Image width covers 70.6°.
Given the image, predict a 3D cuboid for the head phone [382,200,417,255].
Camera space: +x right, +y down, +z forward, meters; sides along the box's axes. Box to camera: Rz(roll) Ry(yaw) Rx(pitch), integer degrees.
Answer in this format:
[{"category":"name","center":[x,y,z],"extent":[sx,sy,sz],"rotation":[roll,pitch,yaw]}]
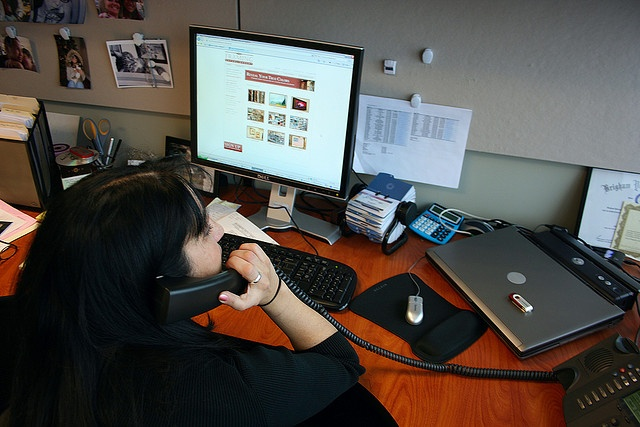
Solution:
[{"category":"head phone","center":[0.278,0.038,1.556],"extent":[0.062,0.170,0.180],"rotation":[21,27,25]}]

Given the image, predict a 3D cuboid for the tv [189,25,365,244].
[{"category":"tv","center":[-0.137,-0.287,1.505],"extent":[0.638,0.604,0.087],"rotation":[16,29,22]}]

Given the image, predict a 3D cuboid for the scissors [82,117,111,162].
[{"category":"scissors","center":[-0.895,-0.321,1.837],"extent":[0.112,0.203,0.017],"rotation":[27,38,20]}]

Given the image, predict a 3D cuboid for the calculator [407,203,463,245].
[{"category":"calculator","center":[0.417,0.035,1.622],"extent":[0.128,0.042,0.161],"rotation":[28,45,26]}]

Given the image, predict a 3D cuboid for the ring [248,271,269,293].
[{"category":"ring","center":[-0.161,0.173,1.161],"extent":[0.032,0.043,0.015],"rotation":[35,-11,1]}]

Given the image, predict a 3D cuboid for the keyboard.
[{"category":"keyboard","center":[-0.085,0.181,1.394],"extent":[0.370,0.032,0.160],"rotation":[14,56,-8]}]

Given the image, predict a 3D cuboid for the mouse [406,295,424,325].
[{"category":"mouse","center":[0.279,0.279,1.322],"extent":[0.052,0.023,0.093],"rotation":[7,40,11]}]
